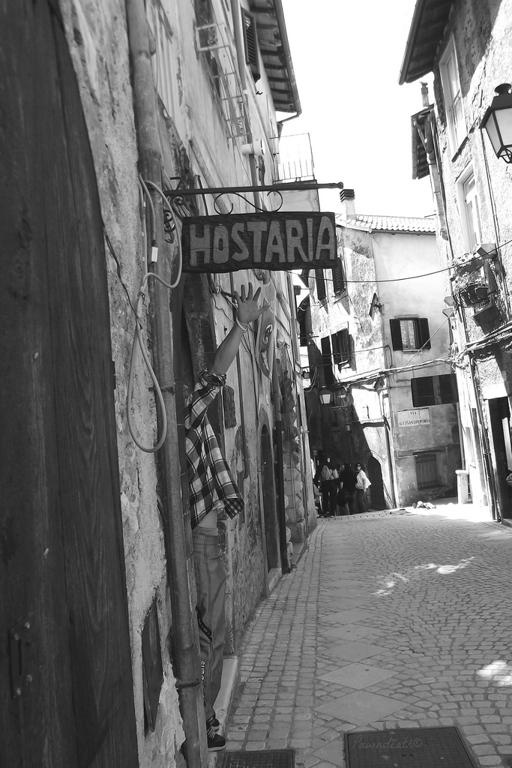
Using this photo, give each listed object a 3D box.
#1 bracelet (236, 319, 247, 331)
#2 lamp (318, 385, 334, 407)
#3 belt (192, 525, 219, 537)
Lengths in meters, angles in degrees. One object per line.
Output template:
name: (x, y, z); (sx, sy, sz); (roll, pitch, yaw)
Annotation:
bracelet: (-0.076, -0.330, 3.612); (0.055, 0.016, 0.043); (44, 3, -9)
lamp: (3.149, 0.501, 27.499); (0.499, 1.095, 0.693); (0, -8, 7)
belt: (-0.263, 0.789, 3.370); (0.145, 0.066, 0.041); (-1, -6, -28)
